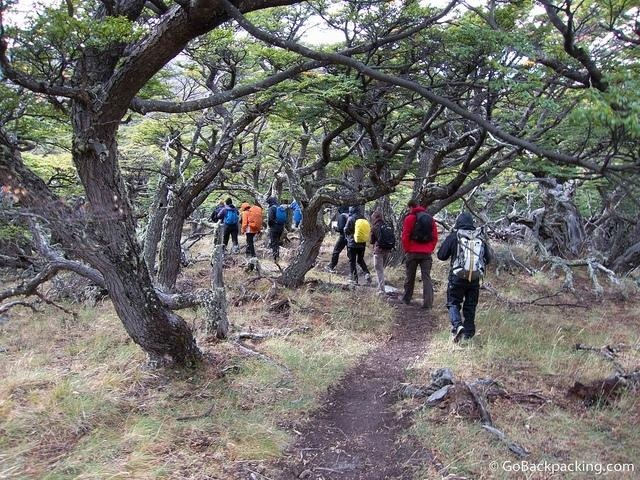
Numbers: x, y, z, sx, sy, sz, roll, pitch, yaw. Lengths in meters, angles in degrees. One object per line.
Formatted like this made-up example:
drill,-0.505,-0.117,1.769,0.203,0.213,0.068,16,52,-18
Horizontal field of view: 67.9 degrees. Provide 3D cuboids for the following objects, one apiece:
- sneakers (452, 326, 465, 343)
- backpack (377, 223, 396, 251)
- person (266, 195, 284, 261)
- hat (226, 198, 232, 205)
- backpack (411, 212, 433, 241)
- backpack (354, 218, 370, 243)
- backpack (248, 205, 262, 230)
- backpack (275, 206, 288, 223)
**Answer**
sneakers,2.247,1.541,7.822,0.136,0.321,0.147,11,32,-1
backpack,1.459,-0.065,10.571,0.383,0.622,0.217,0,7,-2
person,-1.296,-0.326,14.034,0.518,1.859,0.831,0,7,-5
hat,-2.774,-1.165,14.408,0.142,0.146,0.374,3,-14,-20
backpack,2.087,-0.266,9.657,0.459,0.637,0.209,0,7,-4
backpack,0.990,-0.235,11.175,0.385,0.540,0.362,1,6,4
backpack,-1.995,-0.611,14.242,0.372,0.799,0.477,1,6,8
backpack,-1.172,-0.750,14.089,0.295,0.510,0.759,1,6,3
